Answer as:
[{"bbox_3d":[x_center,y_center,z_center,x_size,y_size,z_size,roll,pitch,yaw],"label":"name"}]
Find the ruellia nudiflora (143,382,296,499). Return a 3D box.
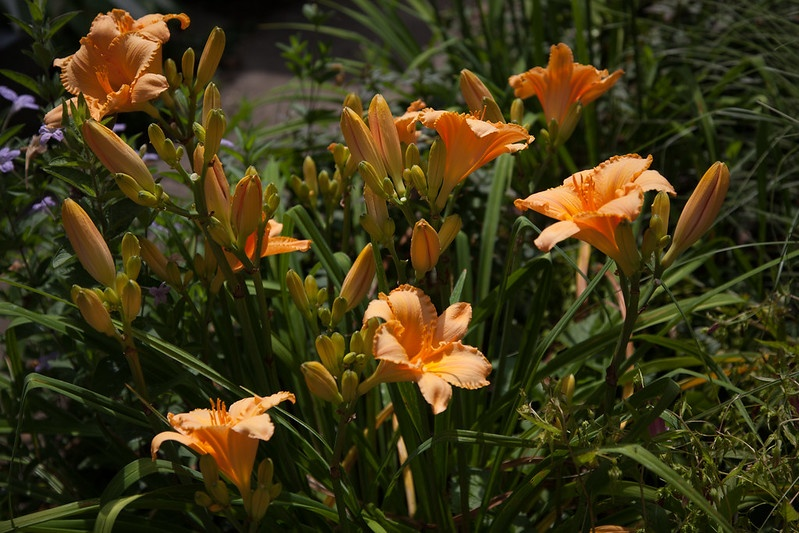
[{"bbox_3d":[-0.447,0.478,2.036,0.367,0.218,0.326,-19,-3,-29],"label":"ruellia nudiflora"}]

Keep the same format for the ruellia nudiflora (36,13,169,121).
[{"bbox_3d":[-0.790,-0.589,2.161,0.322,0.198,0.401,7,19,-23],"label":"ruellia nudiflora"}]

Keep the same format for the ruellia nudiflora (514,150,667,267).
[{"bbox_3d":[0.516,-0.159,2.076,0.365,0.209,0.255,-18,39,-20],"label":"ruellia nudiflora"}]

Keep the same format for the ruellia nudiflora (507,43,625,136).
[{"bbox_3d":[0.527,-0.517,2.431,0.281,0.213,0.258,-8,3,-36],"label":"ruellia nudiflora"}]

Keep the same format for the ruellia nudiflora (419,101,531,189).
[{"bbox_3d":[0.206,-0.343,2.170,0.210,0.181,0.254,21,2,30],"label":"ruellia nudiflora"}]
